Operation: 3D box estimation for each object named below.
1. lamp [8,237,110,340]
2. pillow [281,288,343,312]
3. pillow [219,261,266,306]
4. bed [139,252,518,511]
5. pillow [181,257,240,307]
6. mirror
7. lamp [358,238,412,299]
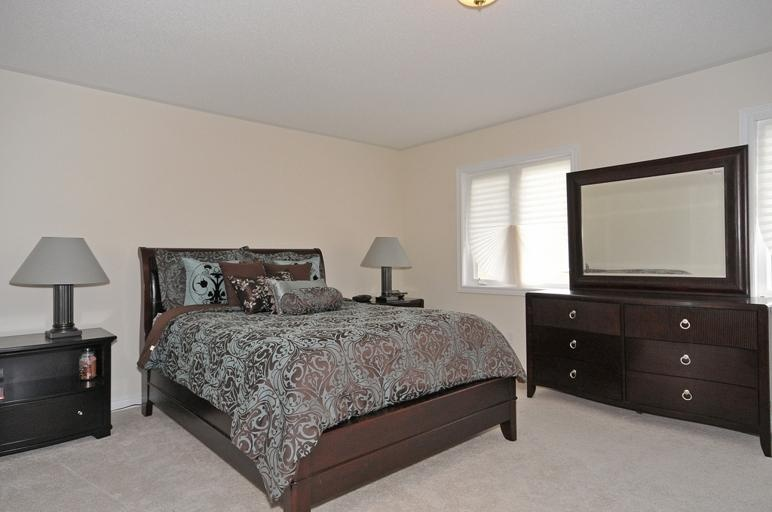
[{"bbox_3d":[-2.811,0.246,4.825,0.826,0.942,0.895,4,4,37],"label":"lamp"},{"bbox_3d":[-0.696,0.399,4.820,0.481,0.178,0.218,-5,-3,-34],"label":"pillow"},{"bbox_3d":[-1.403,0.239,5.092,0.133,0.420,0.459,-23,-13,38],"label":"pillow"},{"bbox_3d":[-0.815,0.875,4.313,1.783,1.230,2.083,-1,0,-42],"label":"bed"},{"bbox_3d":[-1.716,0.275,5.070,0.419,0.401,0.148,6,-21,-32],"label":"pillow"},{"bbox_3d":[2.556,-0.247,5.064,1.574,1.392,0.086,-1,19,31],"label":"mirror"},{"bbox_3d":[0.003,0.139,6.642,0.674,0.717,0.698,0,2,11],"label":"lamp"}]
